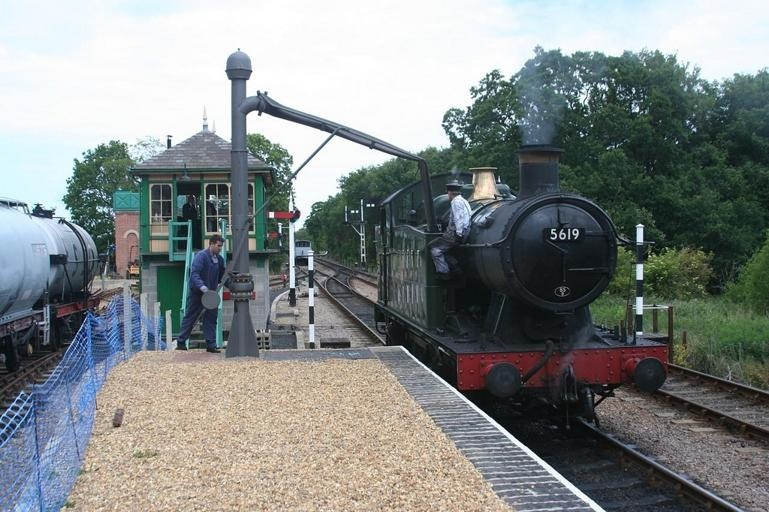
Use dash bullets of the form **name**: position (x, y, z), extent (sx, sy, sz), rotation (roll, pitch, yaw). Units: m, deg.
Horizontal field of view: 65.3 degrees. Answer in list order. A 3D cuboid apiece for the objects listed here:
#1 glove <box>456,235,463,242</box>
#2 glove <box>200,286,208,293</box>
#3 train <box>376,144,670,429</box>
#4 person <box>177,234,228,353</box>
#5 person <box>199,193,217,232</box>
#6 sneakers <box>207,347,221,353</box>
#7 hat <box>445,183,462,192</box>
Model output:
- **glove**: position (1.283, -0.305, 10.225), extent (0.103, 0.077, 0.100), rotation (0, -6, 5)
- **glove**: position (-3.326, 0.600, 10.986), extent (0.112, 0.080, 0.149), rotation (0, 1, -6)
- **train**: position (1.774, 0.298, 11.922), extent (3.891, 4.589, 7.704), rotation (-1, 6, -25)
- **person**: position (-3.463, 0.754, 11.290), extent (0.893, 2.322, 1.451), rotation (-1, 7, -19)
- **person**: position (-5.689, -1.368, 19.514), extent (0.443, 1.161, 0.307), rotation (0, 7, -16)
- **sneakers**: position (-3.319, 1.807, 11.670), extent (0.274, 0.112, 0.094), rotation (0, 4, -11)
- **hat**: position (1.207, -1.239, 10.565), extent (0.218, 0.154, 0.238), rotation (0, -2, -5)
